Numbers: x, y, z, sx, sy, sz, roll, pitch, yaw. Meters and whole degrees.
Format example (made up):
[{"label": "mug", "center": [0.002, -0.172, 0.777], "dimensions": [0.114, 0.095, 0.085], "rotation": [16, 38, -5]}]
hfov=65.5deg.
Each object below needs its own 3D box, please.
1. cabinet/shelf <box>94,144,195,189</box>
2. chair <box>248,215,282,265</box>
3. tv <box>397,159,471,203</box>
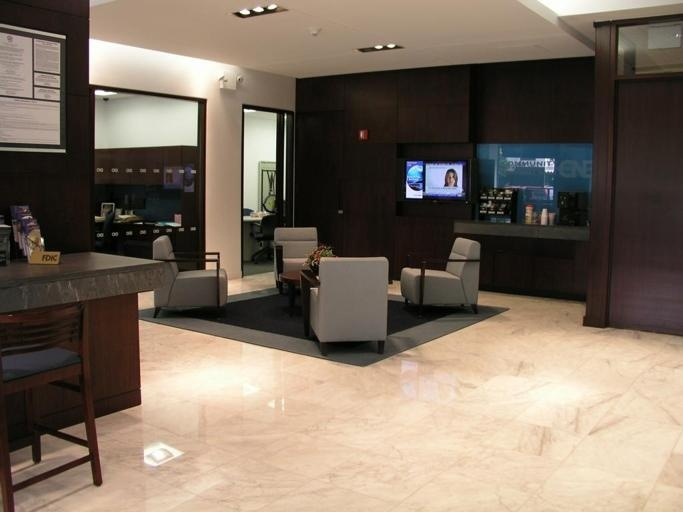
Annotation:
[{"label": "cabinet/shelf", "center": [-3.472, -1.587, 9.440], "dimensions": [1.986, 0.733, 0.335], "rotation": [4, 9, 19]}, {"label": "chair", "center": [-1.633, -0.461, 11.492], "dimensions": [0.649, 1.036, 0.694], "rotation": [-3, 13, -15]}, {"label": "tv", "center": [1.653, -1.342, 9.478], "dimensions": [1.126, 0.709, 0.117], "rotation": [0, 2, -4]}]
